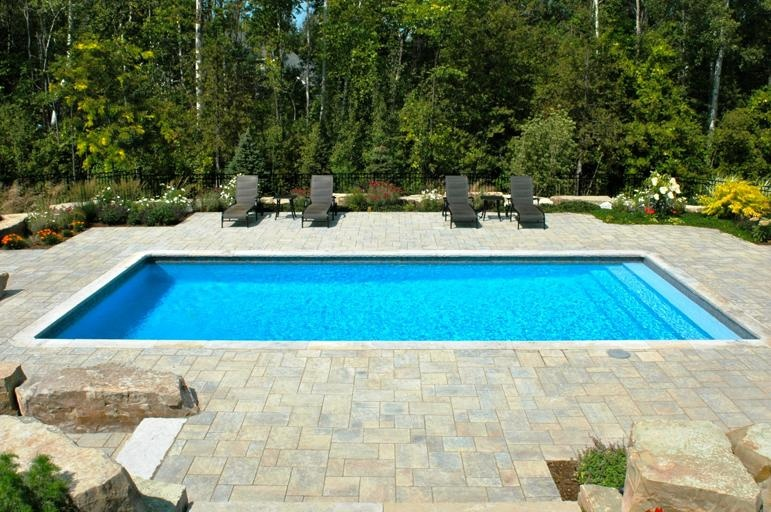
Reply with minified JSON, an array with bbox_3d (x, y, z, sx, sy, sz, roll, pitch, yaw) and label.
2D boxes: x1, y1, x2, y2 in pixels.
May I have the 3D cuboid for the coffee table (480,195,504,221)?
[{"bbox_3d":[3.876,-1.831,16.853,0.961,0.738,1.072,1,6,5],"label":"coffee table"}]

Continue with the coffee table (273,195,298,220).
[{"bbox_3d":[-3.695,-1.907,16.945,1.140,0.908,1.047,-1,14,0],"label":"coffee table"}]
